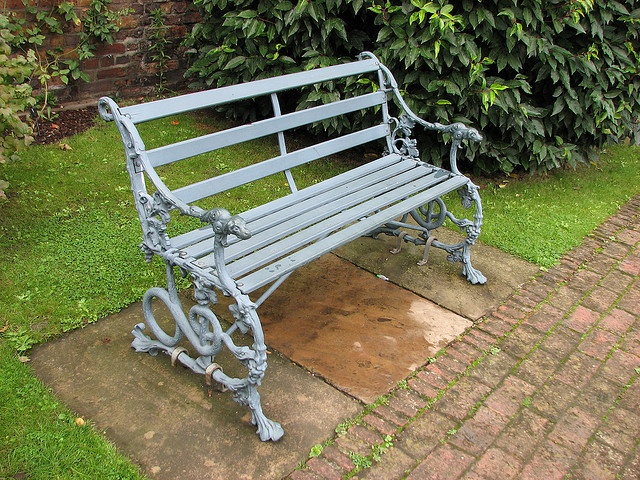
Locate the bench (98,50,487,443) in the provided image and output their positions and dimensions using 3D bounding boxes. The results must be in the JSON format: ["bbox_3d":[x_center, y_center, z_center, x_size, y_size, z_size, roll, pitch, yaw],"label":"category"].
[{"bbox_3d":[-0.157,-0.230,3.770,1.600,1.861,2.766,27,45,35],"label":"bench"}]
